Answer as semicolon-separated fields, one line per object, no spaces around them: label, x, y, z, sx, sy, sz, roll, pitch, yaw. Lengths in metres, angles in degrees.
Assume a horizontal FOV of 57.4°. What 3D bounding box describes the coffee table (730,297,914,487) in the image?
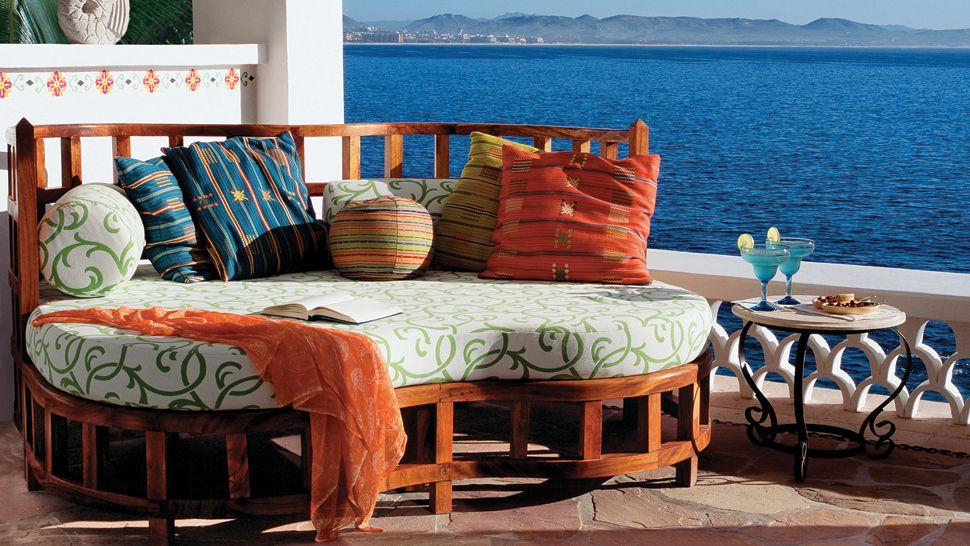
coffee table;1.767;0.579;4.868;1.580;0.797;1.090;1;4;10
